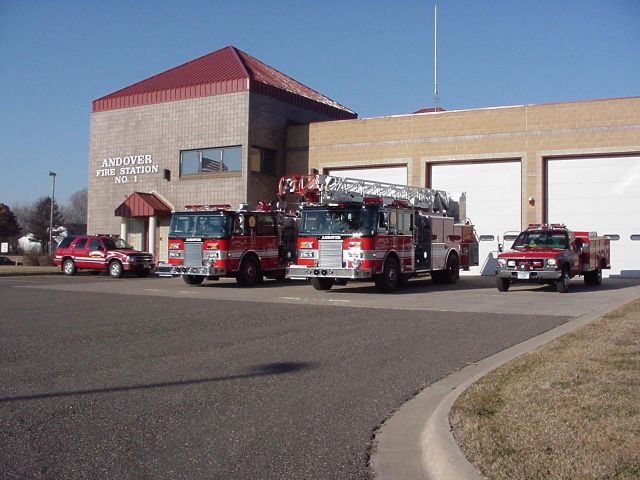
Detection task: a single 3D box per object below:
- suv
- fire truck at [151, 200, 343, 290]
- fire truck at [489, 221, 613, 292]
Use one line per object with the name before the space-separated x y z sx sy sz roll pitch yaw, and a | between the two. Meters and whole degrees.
suv | -10.722 0.760 30.989 5.124 2.028 1.248 1 2 28
fire truck | -3.227 0.513 25.800 2.876 2.874 5.693 -2 -4 30
fire truck | 8.799 0.653 23.350 2.127 2.092 5.089 -2 -4 34
